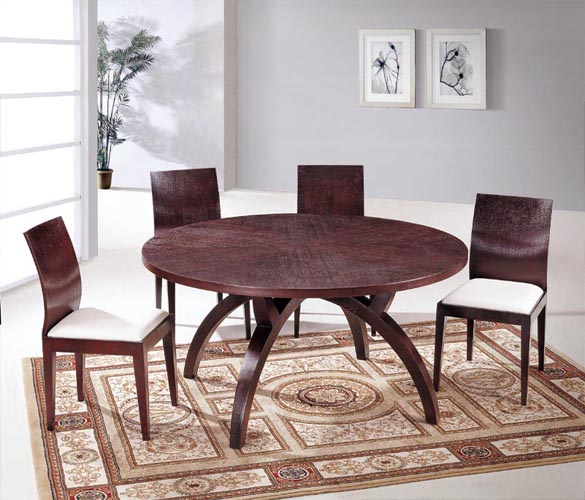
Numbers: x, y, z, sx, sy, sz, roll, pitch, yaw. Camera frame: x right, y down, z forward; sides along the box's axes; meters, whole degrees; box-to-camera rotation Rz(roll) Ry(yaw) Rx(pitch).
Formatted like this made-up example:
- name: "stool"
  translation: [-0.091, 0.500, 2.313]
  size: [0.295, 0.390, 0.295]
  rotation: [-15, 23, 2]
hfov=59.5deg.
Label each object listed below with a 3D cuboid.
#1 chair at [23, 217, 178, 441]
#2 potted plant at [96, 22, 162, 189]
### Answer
- name: "chair"
  translation: [-0.834, 0.326, 2.256]
  size: [0.555, 0.902, 0.419]
  rotation: [2, 16, 8]
- name: "potted plant"
  translation: [-2.657, -2.503, 8.260]
  size: [1.004, 2.332, 0.565]
  rotation: [2, 16, 8]
